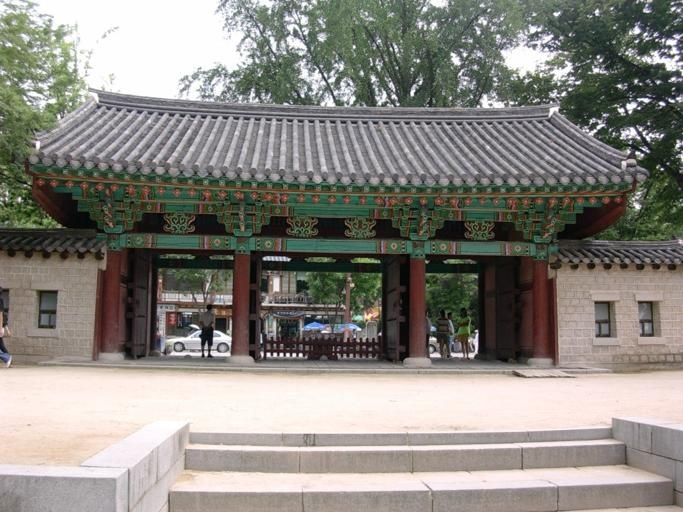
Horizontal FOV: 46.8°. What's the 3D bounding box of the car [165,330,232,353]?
[{"bbox_3d":[-6.257,3.734,34.022,3.588,0.989,1.439,1,-7,-2],"label":"car"}]
